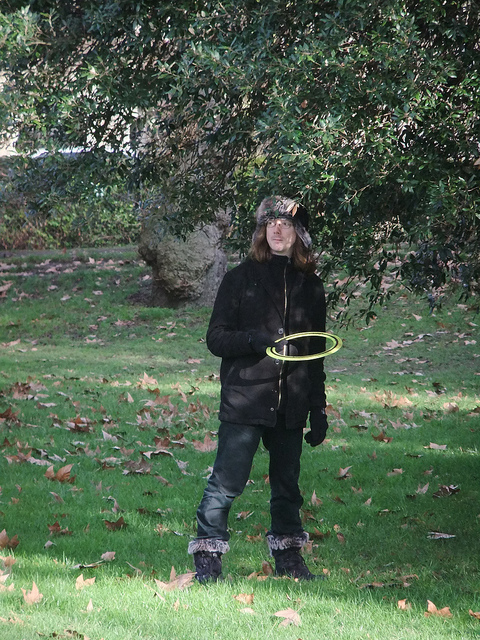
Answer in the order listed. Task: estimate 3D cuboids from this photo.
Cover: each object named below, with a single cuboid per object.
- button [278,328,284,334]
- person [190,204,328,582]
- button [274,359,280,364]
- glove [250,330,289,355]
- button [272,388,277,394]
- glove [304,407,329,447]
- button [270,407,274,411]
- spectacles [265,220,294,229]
[{"bbox_3d":[0.234,0.064,4.832,0.043,0.035,0.014,1,-8,-2],"label":"button"},{"bbox_3d":[0.150,0.471,4.919,0.734,2.300,1.028,1,9,10],"label":"person"},{"bbox_3d":[0.208,0.237,4.760,0.044,0.036,0.014,3,-6,-15],"label":"button"},{"bbox_3d":[0.159,0.122,4.710,0.160,0.148,0.387,1,8,11],"label":"glove"},{"bbox_3d":[0.190,0.407,4.736,0.042,0.034,0.010,3,-2,-9],"label":"button"},{"bbox_3d":[0.470,0.671,5.121,0.128,0.268,0.208,0,9,6],"label":"glove"},{"bbox_3d":[0.180,0.506,4.712,0.023,0.018,0.006,-5,10,-28],"label":"button"},{"bbox_3d":[0.227,-0.568,4.912,0.164,0.052,0.057,0,8,2],"label":"spectacles"}]
